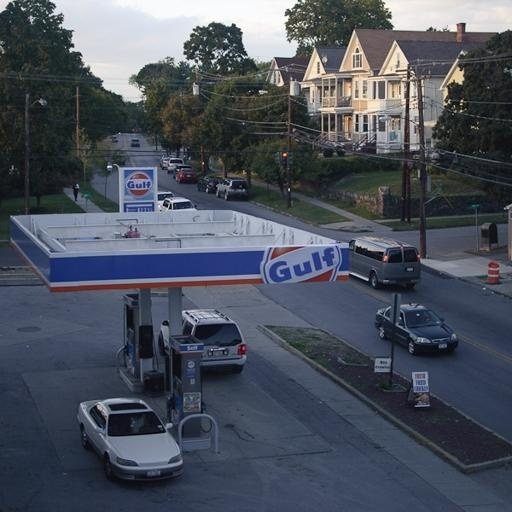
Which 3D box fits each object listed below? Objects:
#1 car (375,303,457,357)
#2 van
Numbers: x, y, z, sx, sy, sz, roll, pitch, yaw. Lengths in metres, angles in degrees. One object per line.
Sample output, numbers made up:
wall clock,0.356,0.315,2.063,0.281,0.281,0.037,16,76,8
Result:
car,5.046,2.317,32.334,1.239,1.144,2.832,-2,4,-21
van,5.180,0.205,41.035,1.549,1.878,3.892,-3,12,-18
